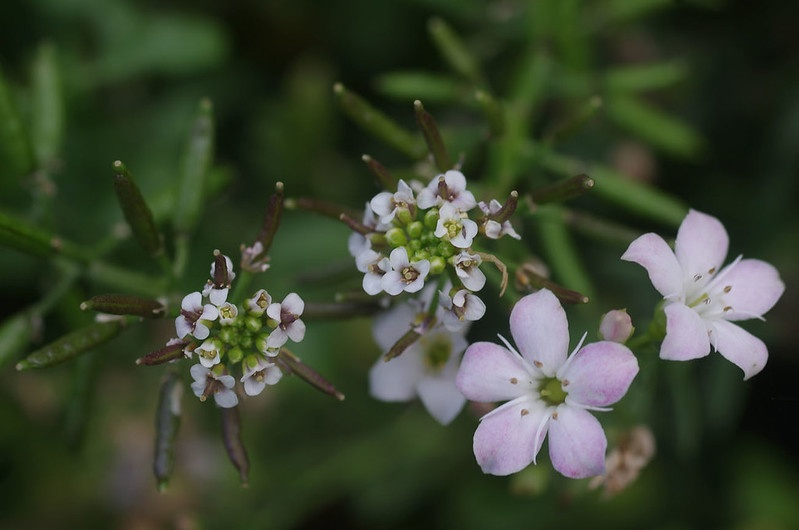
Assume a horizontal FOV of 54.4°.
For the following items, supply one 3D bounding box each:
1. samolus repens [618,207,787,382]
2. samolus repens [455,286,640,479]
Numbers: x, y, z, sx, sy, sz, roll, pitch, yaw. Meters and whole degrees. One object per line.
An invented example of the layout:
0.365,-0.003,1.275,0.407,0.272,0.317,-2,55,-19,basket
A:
1.069,0.111,2.677,0.549,0.478,0.420,-20,36,-10,samolus repens
0.489,0.397,2.597,0.591,0.487,0.405,-6,36,11,samolus repens
